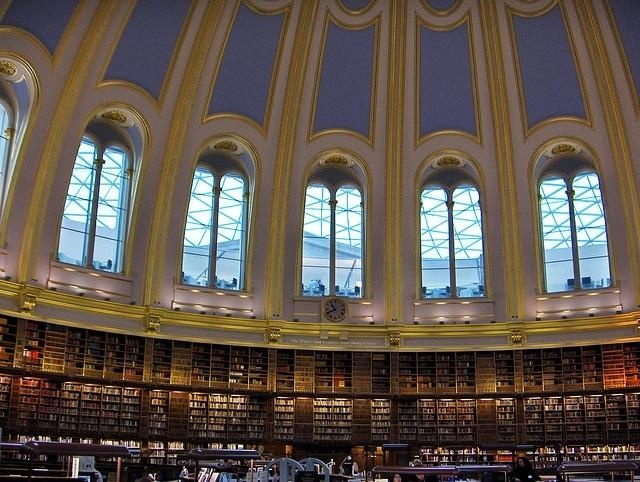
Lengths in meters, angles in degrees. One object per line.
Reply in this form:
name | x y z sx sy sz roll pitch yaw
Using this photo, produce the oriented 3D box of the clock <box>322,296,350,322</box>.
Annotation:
clock | 0.517 2.277 19.201 0.728 0.778 0.105 2 -23 -9
